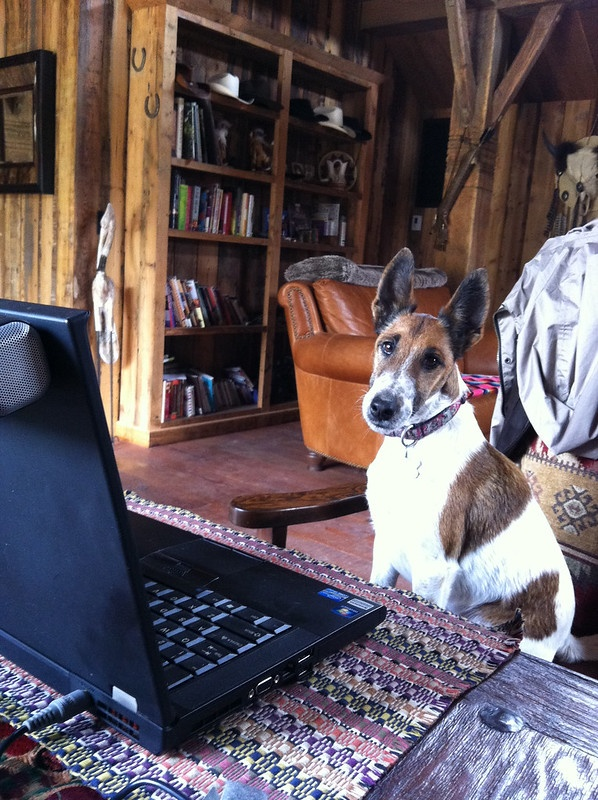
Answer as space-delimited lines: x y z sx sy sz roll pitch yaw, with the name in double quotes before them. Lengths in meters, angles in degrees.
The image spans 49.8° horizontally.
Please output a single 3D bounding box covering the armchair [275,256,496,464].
"armchair" 0.707 -0.187 3.818 1.531 0.990 0.881 -9 19 -35
